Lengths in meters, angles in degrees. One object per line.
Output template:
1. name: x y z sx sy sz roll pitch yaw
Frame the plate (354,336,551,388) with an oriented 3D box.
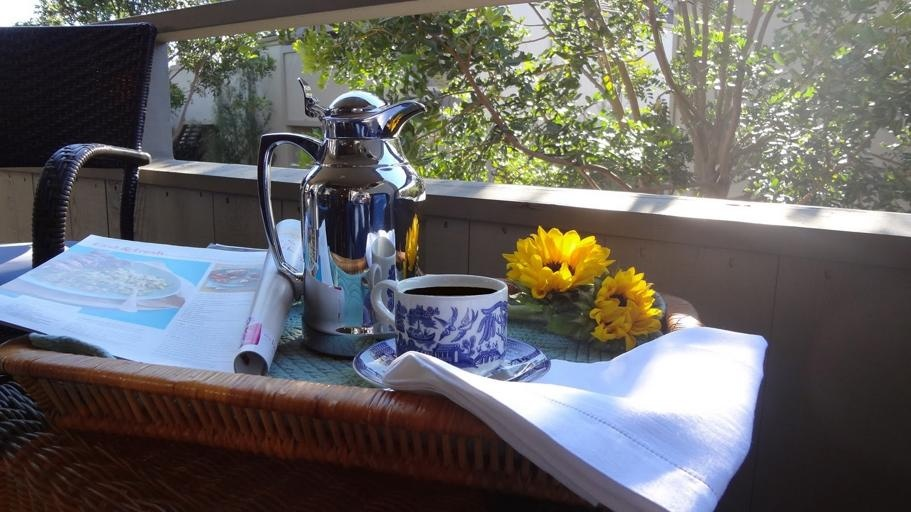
1. plate: -0.014 0.116 0.799 0.232 0.108 0.127 4 11 15

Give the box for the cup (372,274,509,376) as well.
1. cup: -0.027 0.096 0.883 0.186 0.111 0.134 3 7 24

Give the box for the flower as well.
1. flower: 0.215 0.051 0.961 0.273 0.172 0.128 9 15 18
